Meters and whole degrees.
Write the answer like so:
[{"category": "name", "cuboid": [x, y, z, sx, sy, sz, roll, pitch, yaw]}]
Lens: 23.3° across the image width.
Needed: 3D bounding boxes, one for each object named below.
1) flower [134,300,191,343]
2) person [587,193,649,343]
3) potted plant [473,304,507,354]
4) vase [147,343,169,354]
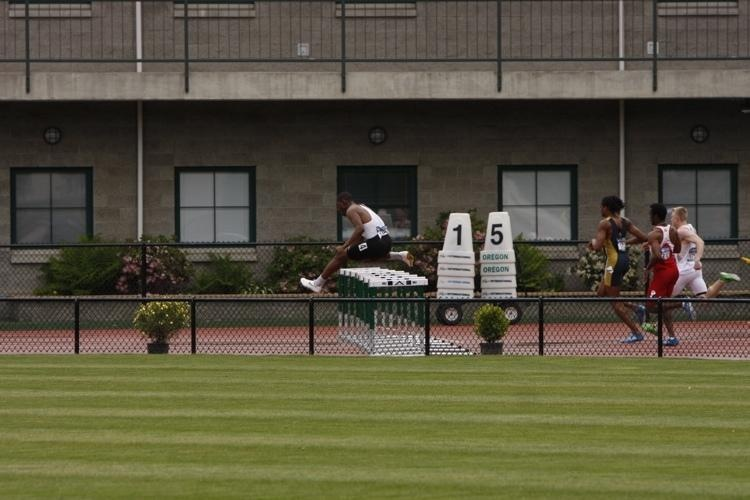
[{"category": "flower", "cuboid": [-3.906, 1.254, 32.967, 0.969, 0.708, 0.508, 0, -2, -7]}, {"category": "person", "cuboid": [4.551, 0.316, 33.559, 1.138, 2.532, 0.934, -2, -1, -11]}, {"category": "potted plant", "cuboid": [2.056, 1.397, 32.697, 0.861, 0.992, 0.727, 1, -6, -5]}, {"category": "vase", "cuboid": [-3.966, 1.720, 32.754, 0.297, 0.124, 0.196, 0, -2, -1]}]
